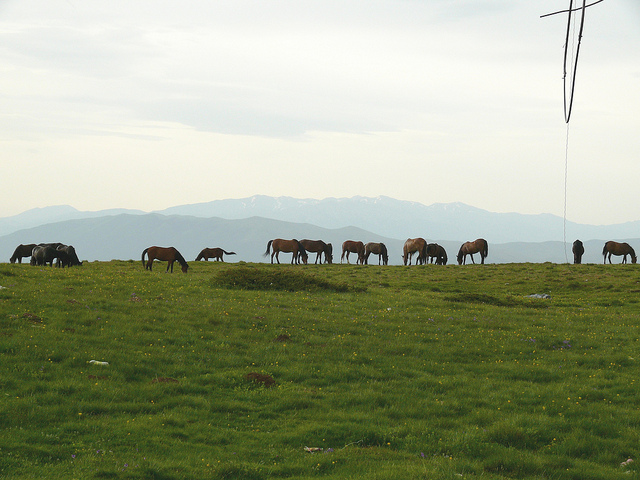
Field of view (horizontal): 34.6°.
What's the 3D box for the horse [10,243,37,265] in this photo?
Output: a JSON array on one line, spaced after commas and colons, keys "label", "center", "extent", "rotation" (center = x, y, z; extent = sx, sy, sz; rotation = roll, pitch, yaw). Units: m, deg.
[{"label": "horse", "center": [-21.215, 0.922, 73.239], "extent": [1.654, 1.192, 8.561], "rotation": [3, -1, -16]}]
